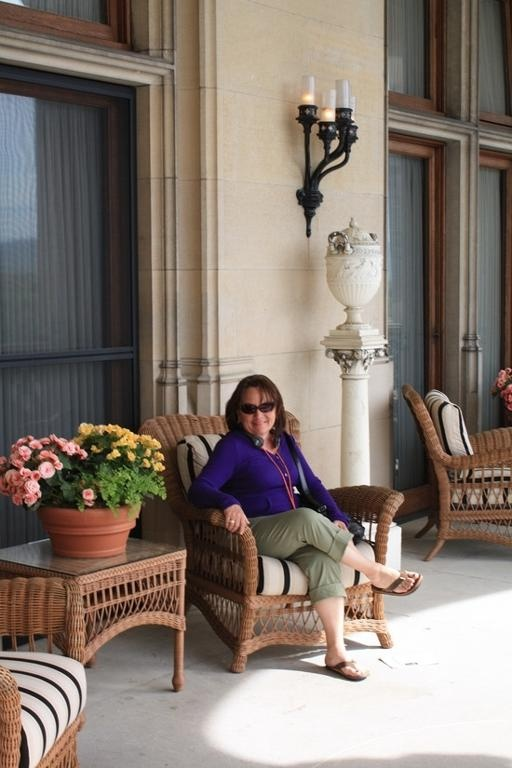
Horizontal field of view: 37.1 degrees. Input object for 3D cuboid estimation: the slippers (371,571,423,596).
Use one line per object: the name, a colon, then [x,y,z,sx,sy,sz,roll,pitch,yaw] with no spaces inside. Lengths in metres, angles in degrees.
slippers: [0.512,0.720,2.739,0.146,0.049,0.087,-3,41,21]

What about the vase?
vase: [-0.504,0.431,2.246,0.194,0.102,0.198,-1,-5,13]

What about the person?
person: [0.133,0.478,2.770,0.640,0.745,0.630,0,0,-31]

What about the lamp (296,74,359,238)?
lamp: [0.380,-1.167,3.984,0.243,0.520,0.498,0,0,31]

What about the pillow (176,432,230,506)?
pillow: [-0.213,0.324,3.022,0.085,0.218,0.210,-14,-27,39]

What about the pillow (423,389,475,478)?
pillow: [1.120,0.297,4.479,0.201,0.379,0.544,2,15,-7]

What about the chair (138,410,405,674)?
chair: [0.068,0.572,3.151,0.819,0.871,0.980,2,-3,-32]

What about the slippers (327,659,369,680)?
slippers: [0.302,0.948,2.566,0.103,0.038,0.054,0,2,40]
